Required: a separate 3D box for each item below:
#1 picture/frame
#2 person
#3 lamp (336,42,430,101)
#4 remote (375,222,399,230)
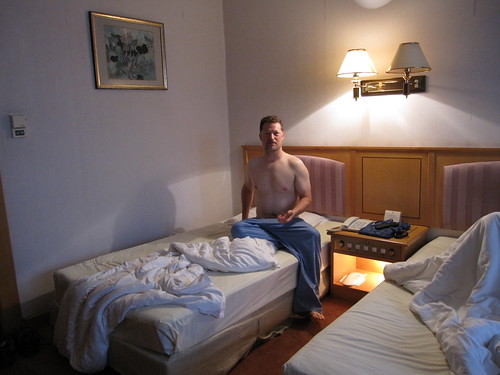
[{"bbox_3d":[-1.206,-1.337,3.646,0.050,0.681,0.765,3,11,37],"label":"picture/frame"},{"bbox_3d":[0.257,0.227,3.312,0.611,1.566,0.998,-13,16,-36],"label":"person"},{"bbox_3d":[1.168,-1.026,3.350,0.766,0.474,0.398,4,16,27],"label":"lamp"},{"bbox_3d":[1.166,0.319,3.270,0.101,0.037,0.102,6,12,42],"label":"remote"}]
